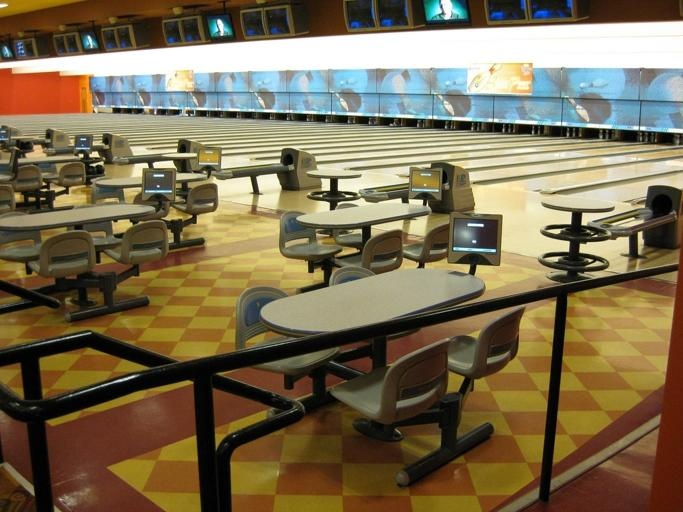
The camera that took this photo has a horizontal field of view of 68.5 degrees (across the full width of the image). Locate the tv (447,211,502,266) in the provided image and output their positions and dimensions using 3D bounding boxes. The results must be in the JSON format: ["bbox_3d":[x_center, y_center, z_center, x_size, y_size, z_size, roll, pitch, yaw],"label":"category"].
[{"bbox_3d":[0.784,-0.102,2.947,0.473,0.340,0.073,2,2,12],"label":"tv"}]

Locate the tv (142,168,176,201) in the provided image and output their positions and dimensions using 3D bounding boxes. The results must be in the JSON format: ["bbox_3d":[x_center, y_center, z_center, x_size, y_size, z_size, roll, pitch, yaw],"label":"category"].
[{"bbox_3d":[-1.835,-0.717,4.998,0.484,0.336,0.221,0,1,-6],"label":"tv"}]

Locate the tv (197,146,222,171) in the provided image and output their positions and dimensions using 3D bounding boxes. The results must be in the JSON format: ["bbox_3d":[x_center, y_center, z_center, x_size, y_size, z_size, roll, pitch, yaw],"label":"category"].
[{"bbox_3d":[-1.826,-1.340,6.857,0.546,0.372,0.064,2,-9,14],"label":"tv"}]
